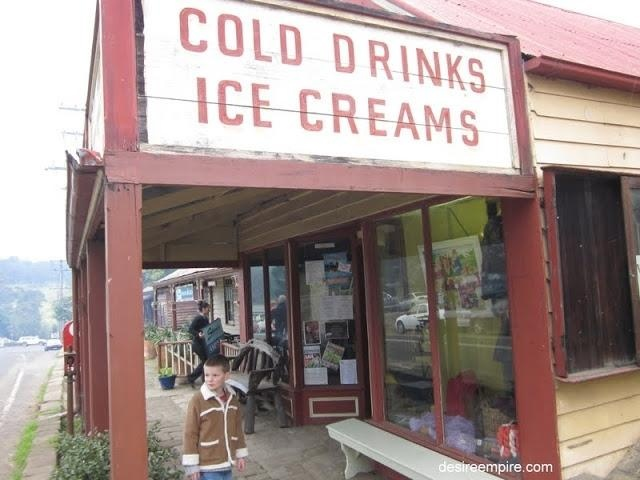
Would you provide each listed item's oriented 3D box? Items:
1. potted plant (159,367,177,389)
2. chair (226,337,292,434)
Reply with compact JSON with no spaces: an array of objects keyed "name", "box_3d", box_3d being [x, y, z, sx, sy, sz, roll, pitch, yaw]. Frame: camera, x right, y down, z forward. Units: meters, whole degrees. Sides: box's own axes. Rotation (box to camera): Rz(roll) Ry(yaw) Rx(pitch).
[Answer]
[{"name":"potted plant","box_3d":[-3.123,2.827,11.901,0.347,0.409,0.538,-3,-6,-15]},{"name":"chair","box_3d":[-0.818,2.086,8.280,0.558,0.900,1.561,2,-7,-25]}]
